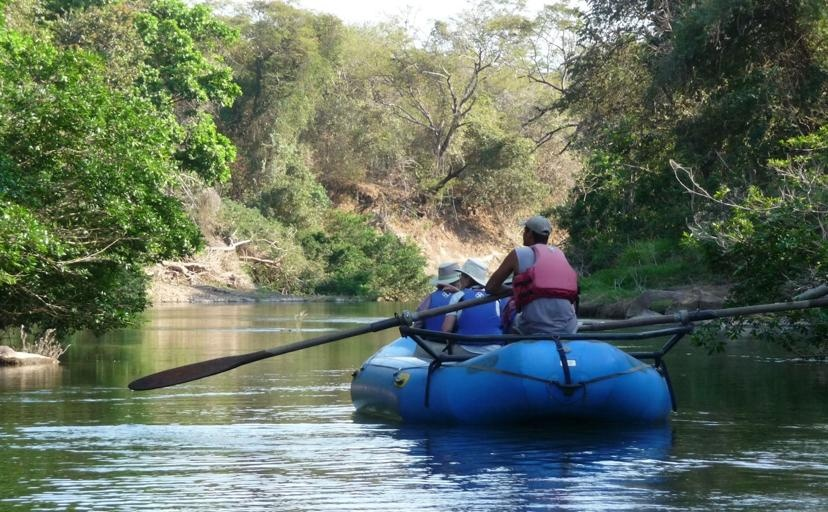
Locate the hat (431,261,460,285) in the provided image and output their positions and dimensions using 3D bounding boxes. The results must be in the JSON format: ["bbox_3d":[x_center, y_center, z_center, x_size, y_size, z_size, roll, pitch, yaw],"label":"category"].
[{"bbox_3d":[0.558,0.296,18.198,0.440,0.172,0.382,-7,8,4],"label":"hat"}]

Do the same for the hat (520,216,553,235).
[{"bbox_3d":[1.974,-0.504,16.850,0.304,0.213,0.403,5,4,-38],"label":"hat"}]

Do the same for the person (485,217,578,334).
[{"bbox_3d":[1.962,0.335,16.726,1.340,1.932,0.689,0,7,8],"label":"person"}]

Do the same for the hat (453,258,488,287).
[{"bbox_3d":[1.025,0.309,18.041,0.478,0.265,0.516,19,6,-35],"label":"hat"}]
